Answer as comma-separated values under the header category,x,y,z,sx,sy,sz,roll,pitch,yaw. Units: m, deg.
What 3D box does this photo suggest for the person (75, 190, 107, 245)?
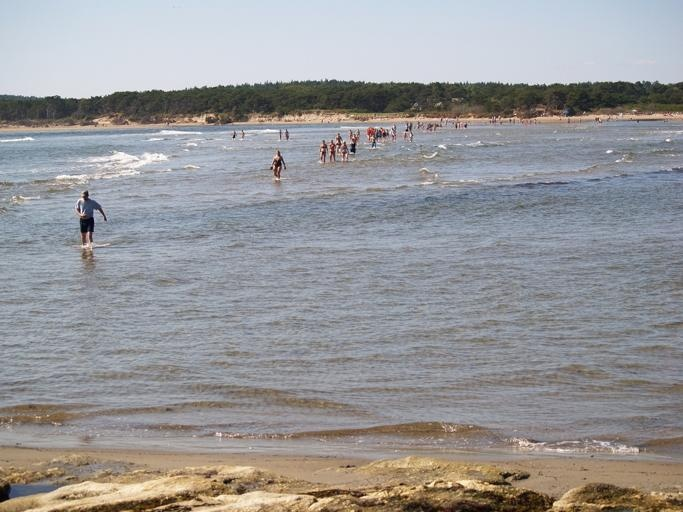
category,x,y,z,sx,sy,sz,roll,pitch,yaw
person,-6.611,-0.964,32.940,0.672,1.444,1.462,-3,6,-10
